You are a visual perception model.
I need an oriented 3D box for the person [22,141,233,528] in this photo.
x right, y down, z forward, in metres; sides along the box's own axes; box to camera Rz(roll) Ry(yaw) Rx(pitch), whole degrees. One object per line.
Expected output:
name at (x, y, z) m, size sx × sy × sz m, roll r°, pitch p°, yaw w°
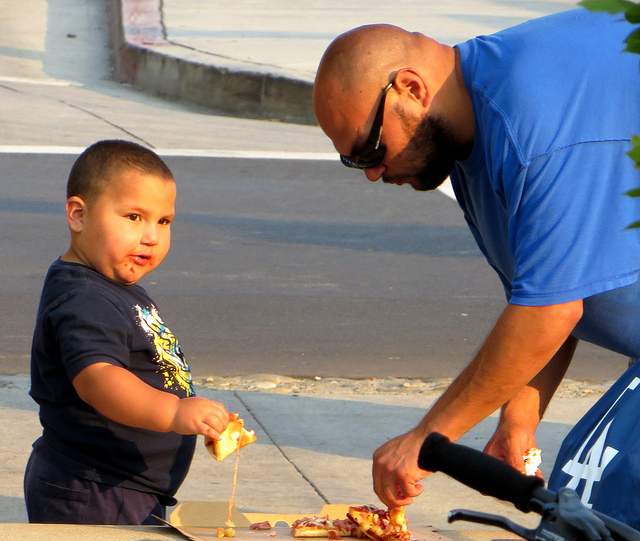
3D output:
person at (-0.825, 0.336, 6.824) m, size 0.756 × 1.564 × 1.042 m, roll 4°, pitch 20°, yaw -18°

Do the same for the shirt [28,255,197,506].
shirt at (-0.869, 0.514, 6.877) m, size 0.733 × 1.008 × 0.544 m, roll 4°, pitch 20°, yaw -18°

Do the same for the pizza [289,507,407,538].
pizza at (0.133, 1.031, 6.484) m, size 0.310 × 0.041 × 0.181 m, roll -4°, pitch 13°, yaw 1°

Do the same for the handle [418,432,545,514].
handle at (0.574, 0.716, 5.711) m, size 0.442 × 0.159 × 0.166 m, roll 22°, pitch 35°, yaw 20°
